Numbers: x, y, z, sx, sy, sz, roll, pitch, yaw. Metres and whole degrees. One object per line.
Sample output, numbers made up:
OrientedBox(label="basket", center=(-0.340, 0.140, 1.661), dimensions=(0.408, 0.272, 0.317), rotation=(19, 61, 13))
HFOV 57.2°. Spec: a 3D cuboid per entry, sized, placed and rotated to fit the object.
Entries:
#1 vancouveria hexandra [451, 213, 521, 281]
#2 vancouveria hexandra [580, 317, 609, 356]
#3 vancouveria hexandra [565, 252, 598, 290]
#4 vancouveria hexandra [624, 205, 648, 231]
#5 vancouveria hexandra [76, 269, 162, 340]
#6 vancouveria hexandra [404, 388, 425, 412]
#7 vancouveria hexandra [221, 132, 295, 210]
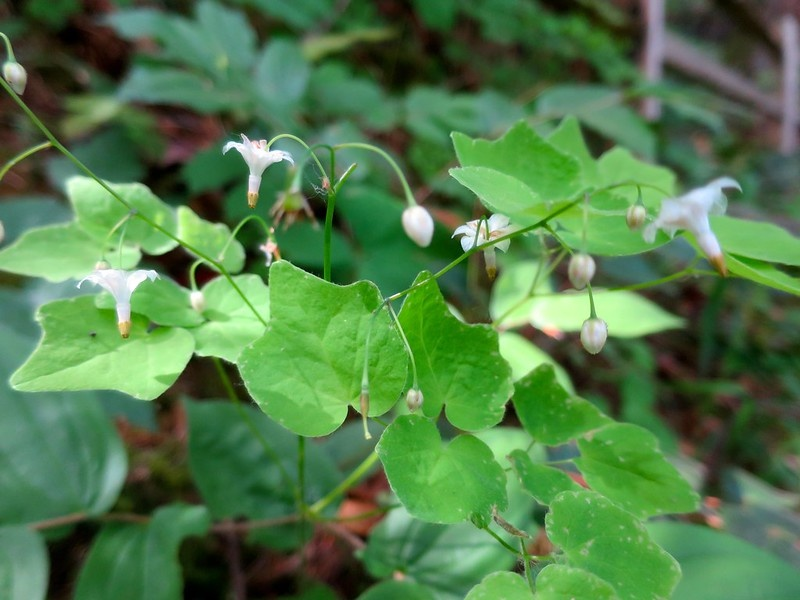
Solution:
OrientedBox(label="vancouveria hexandra", center=(0.181, -0.101, 1.389), dimensions=(0.118, 0.116, 0.116), rotation=(3, 79, 4))
OrientedBox(label="vancouveria hexandra", center=(0.348, 0.067, 1.350), dimensions=(0.062, 0.085, 0.071), rotation=(7, 91, 10))
OrientedBox(label="vancouveria hexandra", center=(0.330, -0.062, 1.304), dimensions=(0.046, 0.050, 0.064), rotation=(17, 69, 27))
OrientedBox(label="vancouveria hexandra", center=(0.416, -0.147, 1.294), dimensions=(0.034, 0.026, 0.045), rotation=(9, 91, 22))
OrientedBox(label="vancouveria hexandra", center=(-0.500, 0.005, 1.324), dimensions=(0.121, 0.124, 0.113), rotation=(-1, 85, -28))
OrientedBox(label="vancouveria hexandra", center=(0.025, 0.172, 1.263), dimensions=(0.029, 0.033, 0.039), rotation=(-4, 98, -26))
OrientedBox(label="vancouveria hexandra", center=(-0.271, -0.238, 1.381), dimensions=(0.127, 0.114, 0.128), rotation=(9, 85, 7))
